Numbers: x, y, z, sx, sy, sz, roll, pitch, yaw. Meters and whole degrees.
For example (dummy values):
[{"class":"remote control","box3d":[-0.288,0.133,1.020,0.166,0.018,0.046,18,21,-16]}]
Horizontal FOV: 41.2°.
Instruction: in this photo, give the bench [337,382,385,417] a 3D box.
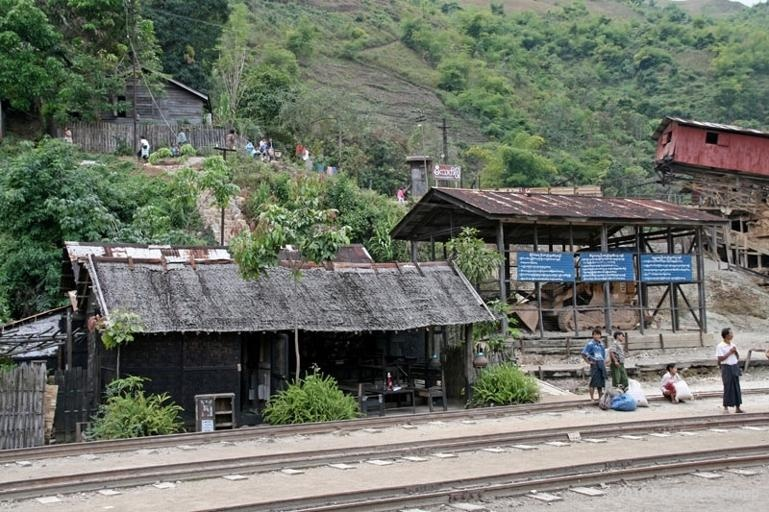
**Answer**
[{"class":"bench","box3d":[-0.836,5.984,43.247,1.647,1.422,2.175,-3,-1,-23]}]

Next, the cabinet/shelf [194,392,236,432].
[{"class":"cabinet/shelf","box3d":[-6.867,6.257,41.048,1.425,1.363,0.591,2,-6,-37]}]

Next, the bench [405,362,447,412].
[{"class":"bench","box3d":[1.860,5.650,44.217,1.627,1.947,1.845,-3,-1,2]}]

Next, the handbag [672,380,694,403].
[{"class":"handbag","box3d":[12.959,5.847,44.376,0.834,0.920,0.292,-3,0,-21]}]
